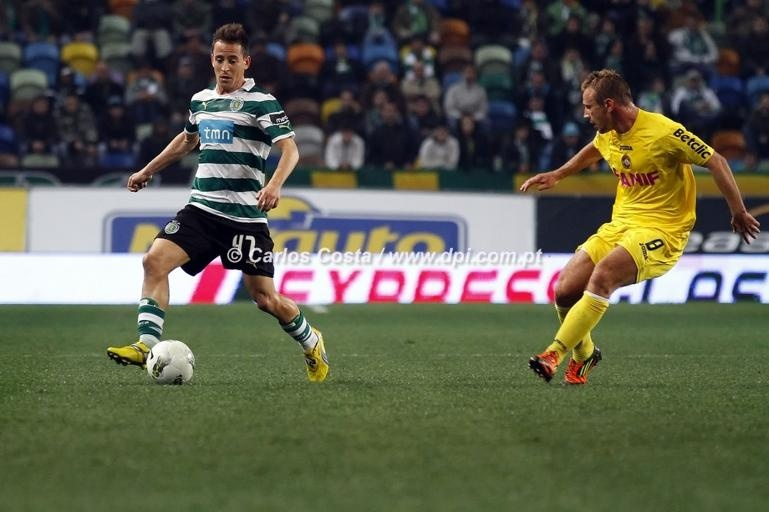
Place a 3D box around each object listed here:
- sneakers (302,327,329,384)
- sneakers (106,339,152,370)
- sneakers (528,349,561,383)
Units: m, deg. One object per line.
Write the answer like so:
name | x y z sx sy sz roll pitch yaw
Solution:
sneakers | -0.584 0.869 8.978 0.176 0.481 0.214 -4 13 17
sneakers | -2.125 0.841 8.818 0.454 0.229 0.162 18 -19 -36
sneakers | 1.348 0.936 8.722 0.201 0.136 0.382 -18 0 0
